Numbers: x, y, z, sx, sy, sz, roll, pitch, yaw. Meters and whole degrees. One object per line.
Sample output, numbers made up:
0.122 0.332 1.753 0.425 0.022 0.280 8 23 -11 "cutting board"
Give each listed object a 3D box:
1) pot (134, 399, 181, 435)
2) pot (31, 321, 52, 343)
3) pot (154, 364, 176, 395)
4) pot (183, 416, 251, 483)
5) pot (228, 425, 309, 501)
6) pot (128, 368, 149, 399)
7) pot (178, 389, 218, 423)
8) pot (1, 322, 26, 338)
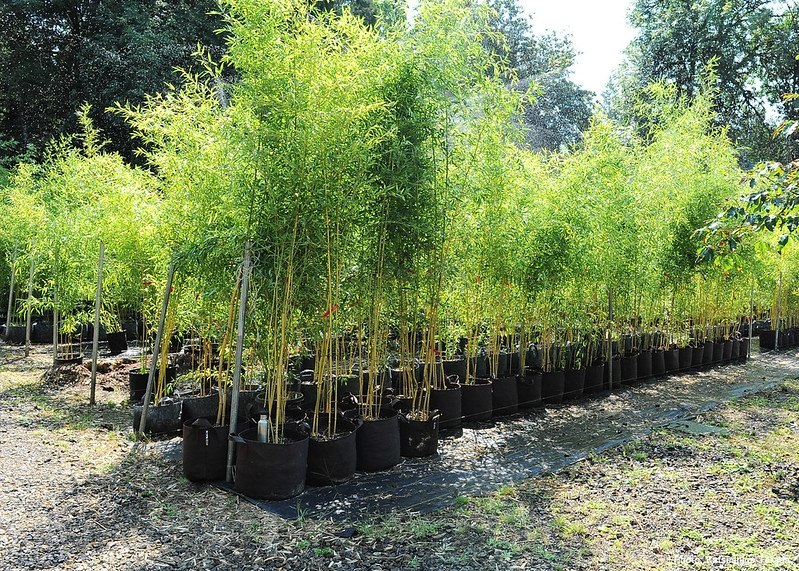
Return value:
-2.196 1.167 6.006 0.312 0.212 0.313 1 -4 0 "pot"
-5.387 0.691 9.962 0.298 0.229 0.307 0 1 0 "pot"
-2.366 0.956 6.764 0.214 0.227 0.220 2 -1 0 "pot"
-1.525 1.355 5.450 0.478 0.509 0.369 3 -6 -24 "pot"
-1.028 1.412 5.120 0.476 0.357 0.560 2 0 10 "pot"
-2.677 1.000 6.809 0.291 0.316 0.296 4 10 -1 "pot"
-1.840 1.100 6.050 0.289 0.318 0.326 -1 3 -1 "pot"
-5.781 0.703 9.906 0.299 0.233 0.305 1 -3 0 "pot"
